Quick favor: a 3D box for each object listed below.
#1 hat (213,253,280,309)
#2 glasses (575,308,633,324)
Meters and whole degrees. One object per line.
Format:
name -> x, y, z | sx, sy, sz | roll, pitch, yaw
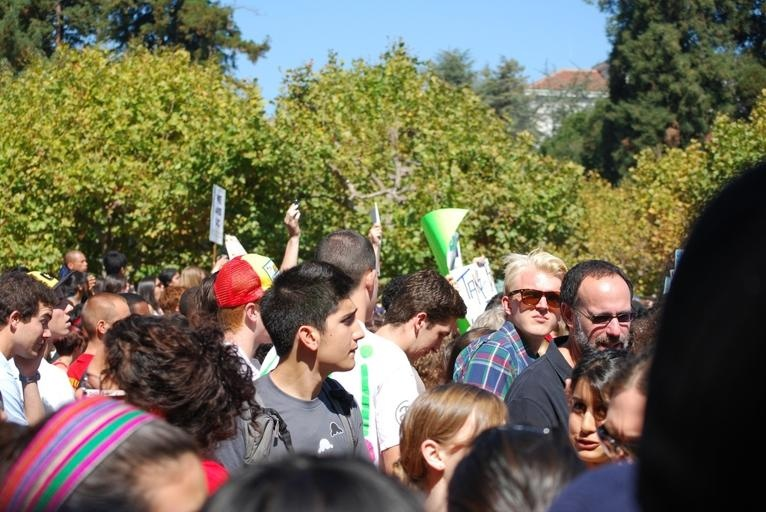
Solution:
hat -> -0.858, 0.131, 5.650 | 0.397, 0.207, 0.276 | -34, 35, -28
glasses -> 1.367, 0.371, 5.482 | 0.353, 0.093, 0.146 | 5, 1, 9
